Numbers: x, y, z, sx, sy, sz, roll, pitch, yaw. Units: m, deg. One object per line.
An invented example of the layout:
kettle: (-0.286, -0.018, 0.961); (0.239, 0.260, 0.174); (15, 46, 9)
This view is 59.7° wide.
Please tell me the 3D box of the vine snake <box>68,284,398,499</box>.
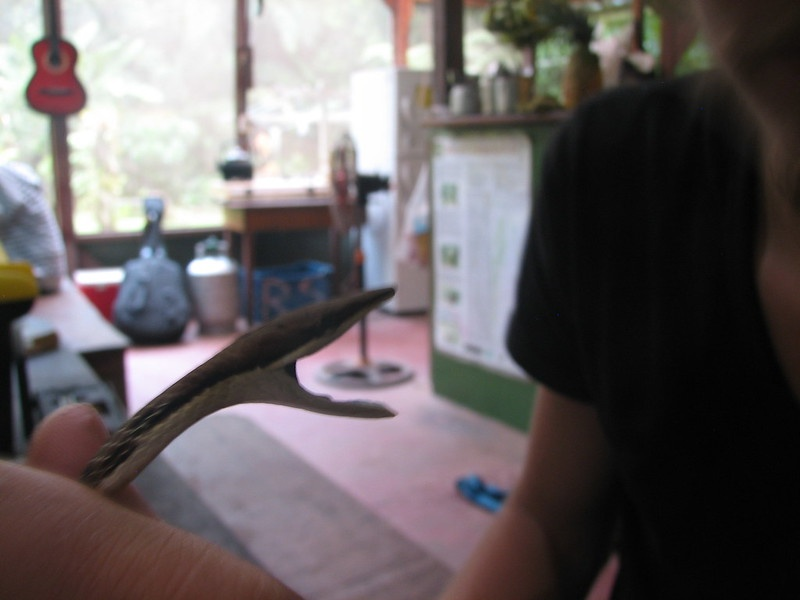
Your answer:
vine snake: (-0.077, 0.043, 0.329); (0.161, 0.074, 0.032); (-9, -1, 5)

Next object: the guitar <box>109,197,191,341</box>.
guitar: (-0.573, -0.068, 1.619); (0.173, 0.344, 0.102); (0, 0, -13)
